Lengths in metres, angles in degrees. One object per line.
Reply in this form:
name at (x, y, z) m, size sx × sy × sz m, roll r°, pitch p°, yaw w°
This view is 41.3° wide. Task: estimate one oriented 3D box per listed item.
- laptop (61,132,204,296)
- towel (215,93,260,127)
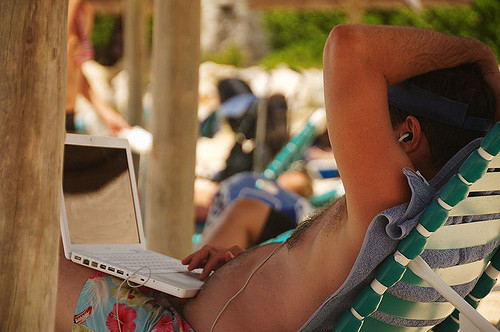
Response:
laptop at (-0.408, 0.182, 2.531) m, size 0.560 × 0.492 × 0.672 m, roll 10°, pitch 1°, yaw 11°
towel at (-0.124, -0.553, 6.496) m, size 0.358 × 0.124 × 0.293 m, roll 10°, pitch 54°, yaw 41°
